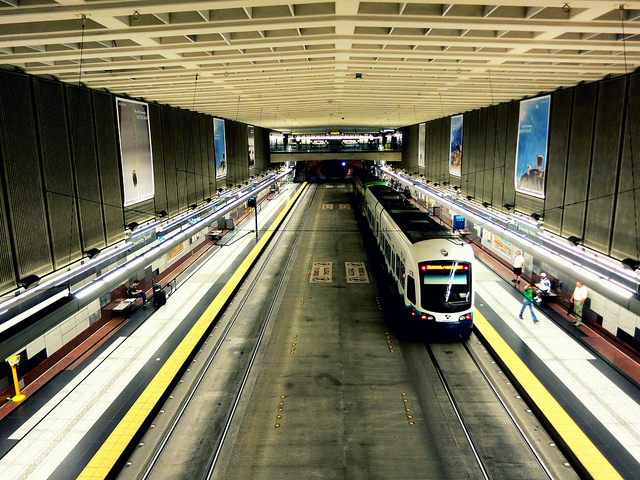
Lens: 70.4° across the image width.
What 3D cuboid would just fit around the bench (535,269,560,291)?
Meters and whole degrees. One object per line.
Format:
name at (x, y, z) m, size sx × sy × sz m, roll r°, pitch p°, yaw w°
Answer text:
bench at (11.341, 2.130, 22.454) m, size 0.696 × 1.294 × 0.883 m, roll -2°, pitch -83°, yaw -1°

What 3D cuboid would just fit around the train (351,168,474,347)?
train at (4.982, -0.957, 30.203) m, size 2.990 × 25.570 × 4.348 m, roll -3°, pitch -77°, yaw -1°

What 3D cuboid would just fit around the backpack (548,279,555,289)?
backpack at (11.606, 2.160, 22.540) m, size 0.102 × 0.333 × 0.337 m, roll -1°, pitch -93°, yaw 5°

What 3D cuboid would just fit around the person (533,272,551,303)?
person at (10.752, 2.321, 21.790) m, size 0.827 × 0.708 × 1.499 m, roll -1°, pitch -58°, yaw 17°
